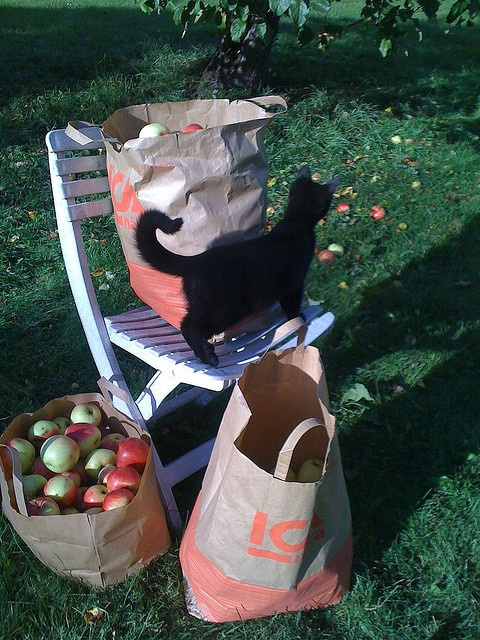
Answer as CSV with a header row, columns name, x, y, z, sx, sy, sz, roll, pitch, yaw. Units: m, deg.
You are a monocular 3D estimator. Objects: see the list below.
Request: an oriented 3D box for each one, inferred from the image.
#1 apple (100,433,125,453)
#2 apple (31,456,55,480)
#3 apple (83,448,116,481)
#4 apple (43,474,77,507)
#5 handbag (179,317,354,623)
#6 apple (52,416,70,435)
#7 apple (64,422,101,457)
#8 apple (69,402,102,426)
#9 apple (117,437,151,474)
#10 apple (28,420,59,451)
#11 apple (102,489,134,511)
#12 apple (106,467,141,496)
name,x,y,z,sx,sy,sz,roll,pitch,yaw
apple,-0.411,0.379,1.830,0.065,0.054,0.061,-11,7,-13
apple,-0.595,0.441,1.707,0.067,0.069,0.061,-3,26,-16
apple,-0.431,0.433,1.751,0.102,0.089,0.099,1,-11,-14
apple,-0.507,0.480,1.650,0.096,0.102,0.088,0,45,-16
handbag,0.093,0.476,1.493,0.365,0.480,0.391,9,16,-7
apple,-0.574,0.337,1.842,0.049,0.055,0.044,15,45,-32
apple,-0.486,0.375,1.813,0.133,0.095,0.104,11,-17,-21
apple,-0.489,0.296,1.839,0.084,0.073,0.078,-16,0,32
apple,-0.313,0.385,1.664,0.113,0.110,0.104,7,-3,-9
apple,-0.610,0.341,1.763,0.094,0.084,0.091,17,-4,1
apple,-0.324,0.474,1.519,0.046,0.052,0.045,28,30,3
apple,-0.328,0.441,1.601,0.088,0.075,0.080,-1,20,-2
